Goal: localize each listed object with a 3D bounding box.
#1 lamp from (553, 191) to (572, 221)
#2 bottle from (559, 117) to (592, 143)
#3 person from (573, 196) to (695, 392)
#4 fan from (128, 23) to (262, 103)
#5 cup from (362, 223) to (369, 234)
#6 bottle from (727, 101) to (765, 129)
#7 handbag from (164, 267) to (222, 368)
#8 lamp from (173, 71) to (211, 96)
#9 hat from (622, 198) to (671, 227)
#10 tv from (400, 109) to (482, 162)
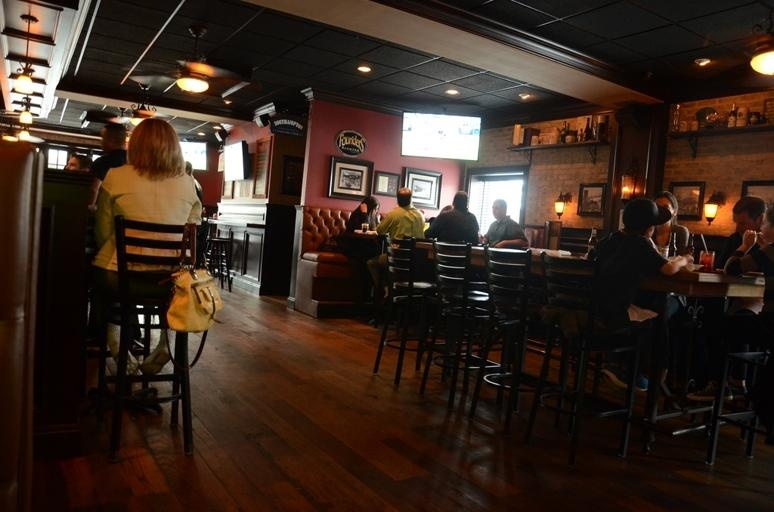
[{"bbox_3d":[2.786,-0.833,8.769,0.251,0.453,0.306,-2,12,-31],"label":"lamp"},{"bbox_3d":[2.959,-1.984,8.485,0.309,0.418,0.611,1,11,-16],"label":"bottle"},{"bbox_3d":[1.914,0.054,4.021,0.619,0.946,0.909,10,12,28],"label":"person"},{"bbox_3d":[-2.428,-2.369,7.279,1.289,0.571,1.244,-1,-2,12],"label":"fan"},{"bbox_3d":[-0.325,-0.410,7.867,0.130,0.167,0.123,0,-2,0],"label":"cup"},{"bbox_3d":[4.489,-1.760,6.763,0.400,0.368,0.229,1,4,22],"label":"bottle"},{"bbox_3d":[-1.253,0.298,3.481,0.341,0.448,0.225,-4,13,-36],"label":"handbag"},{"bbox_3d":[-2.493,-2.249,6.939,0.391,0.185,0.404,0,11,-19],"label":"lamp"},{"bbox_3d":[2.074,-0.348,4.264,0.379,0.180,0.227,-20,27,-12],"label":"hat"},{"bbox_3d":[0.870,-1.960,8.753,1.240,0.694,0.224,5,11,5],"label":"tv"}]
